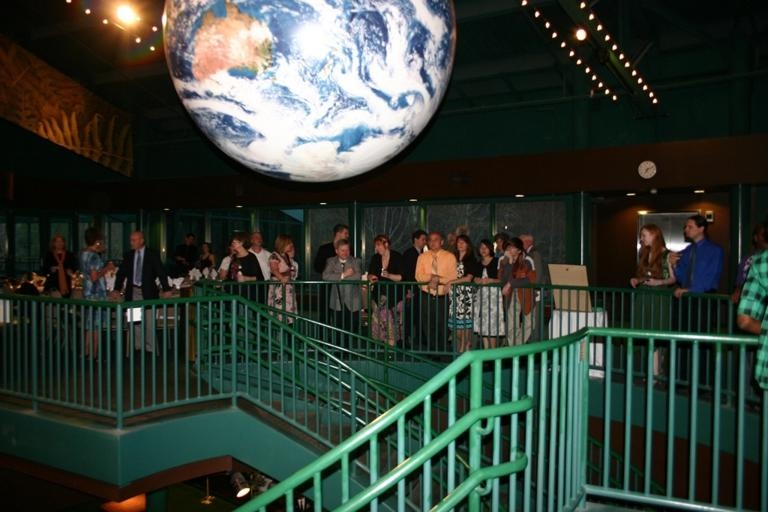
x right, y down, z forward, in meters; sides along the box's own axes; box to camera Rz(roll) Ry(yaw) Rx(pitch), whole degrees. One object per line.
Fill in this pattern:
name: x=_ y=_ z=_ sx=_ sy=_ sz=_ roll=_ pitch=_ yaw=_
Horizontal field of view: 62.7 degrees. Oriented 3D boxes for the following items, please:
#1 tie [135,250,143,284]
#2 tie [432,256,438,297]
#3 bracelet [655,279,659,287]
tie: x=-4.023 y=0.195 z=10.373 sx=0.154 sy=0.568 sz=0.058 roll=-1 pitch=-3 yaw=12
tie: x=0.884 y=0.320 z=10.807 sx=0.112 sy=0.671 sz=0.259 roll=0 pitch=-3 yaw=-5
bracelet: x=4.468 y=0.435 z=10.335 sx=0.053 sy=0.045 sz=0.109 roll=12 pitch=-34 yaw=28
